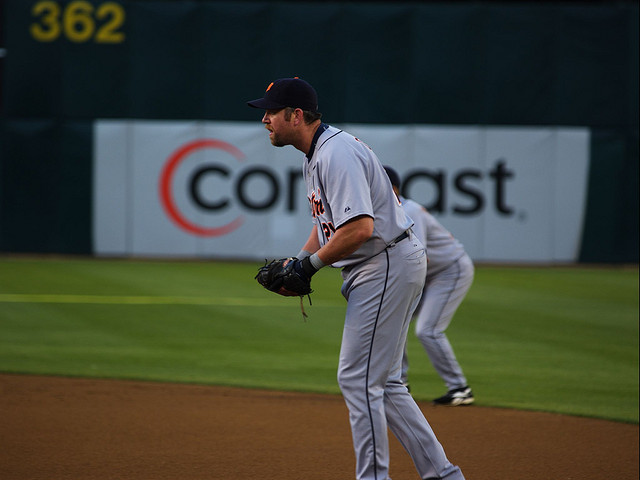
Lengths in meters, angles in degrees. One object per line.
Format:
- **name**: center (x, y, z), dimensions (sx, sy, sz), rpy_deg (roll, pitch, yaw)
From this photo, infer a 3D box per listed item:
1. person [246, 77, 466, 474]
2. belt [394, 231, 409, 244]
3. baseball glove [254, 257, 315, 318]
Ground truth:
- **person**: center (0.248, 0.240, 6.239), dimensions (1.292, 2.491, 0.628), rpy_deg (2, 12, 7)
- **belt**: center (0.530, -0.027, 6.262), dimensions (0.135, 0.041, 0.012), rpy_deg (-41, 25, -18)
- **baseball glove**: center (-0.309, 0.258, 6.478), dimensions (0.324, 0.201, 0.435), rpy_deg (-9, 11, -25)
